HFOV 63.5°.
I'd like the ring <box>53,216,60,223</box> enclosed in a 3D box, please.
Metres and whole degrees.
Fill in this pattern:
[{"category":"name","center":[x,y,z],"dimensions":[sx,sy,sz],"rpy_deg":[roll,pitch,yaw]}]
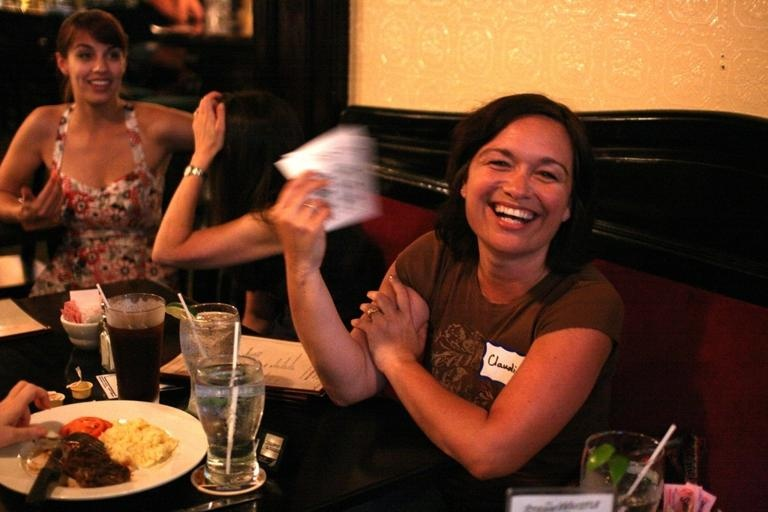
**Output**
[{"category":"ring","center":[-1.565,-0.179,2.975],"dimensions":[0.020,0.026,0.024],"rpy_deg":[30,31,14]}]

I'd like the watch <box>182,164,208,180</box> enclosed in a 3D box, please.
[{"category":"watch","center":[-0.761,-0.342,2.499],"dimensions":[0.075,0.046,0.074],"rpy_deg":[5,-10,-26]}]

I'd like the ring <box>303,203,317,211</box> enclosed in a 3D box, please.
[{"category":"ring","center":[-0.191,-0.128,1.621],"dimensions":[0.020,0.006,0.025],"rpy_deg":[23,1,-22]}]

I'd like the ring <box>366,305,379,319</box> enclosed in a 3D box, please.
[{"category":"ring","center":[-0.036,0.165,1.833],"dimensions":[0.032,0.035,0.014],"rpy_deg":[30,58,-16]}]

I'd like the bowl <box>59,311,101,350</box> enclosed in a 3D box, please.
[{"category":"bowl","center":[-0.903,0.223,1.849],"dimensions":[0.094,0.058,0.086],"rpy_deg":[2,14,-1]}]

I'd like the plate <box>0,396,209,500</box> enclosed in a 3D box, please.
[{"category":"plate","center":[-0.637,0.444,1.421],"dimensions":[0.414,0.105,0.324],"rpy_deg":[-5,20,-27]}]
